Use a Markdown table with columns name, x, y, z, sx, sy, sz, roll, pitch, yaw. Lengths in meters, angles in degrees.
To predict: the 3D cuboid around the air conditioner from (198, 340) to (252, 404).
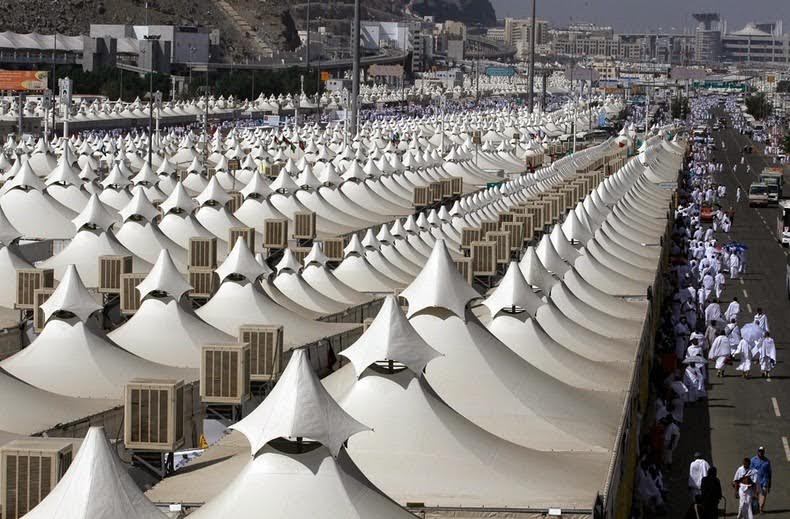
| name | x | y | z | sx | sy | sz | roll | pitch | yaw |
| --- | --- | --- | --- | --- | --- | --- | --- | --- | --- |
| air conditioner | -6.536 | 4.156 | 55.395 | 1.542 | 2.257 | 2.161 | 2 | 9 | -3 |

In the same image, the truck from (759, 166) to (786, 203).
| name | x | y | z | sx | sy | sz | roll | pitch | yaw |
| --- | --- | --- | --- | --- | --- | --- | --- | --- | --- |
| truck | 27.672 | -5.494 | 107.237 | 1.307 | 2.072 | 4.117 | -1 | 10 | 9 |

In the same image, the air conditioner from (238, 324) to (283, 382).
| name | x | y | z | sx | sy | sz | roll | pitch | yaw |
| --- | --- | --- | --- | --- | --- | --- | --- | --- | --- |
| air conditioner | -5.126 | 3.625 | 57.345 | 2.062 | 2.440 | 1.788 | 1 | 6 | 4 |

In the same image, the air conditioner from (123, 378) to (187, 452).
| name | x | y | z | sx | sy | sz | roll | pitch | yaw |
| --- | --- | --- | --- | --- | --- | --- | --- | --- | --- |
| air conditioner | -8.126 | 5.656 | 52.684 | 2.794 | 2.506 | 3.028 | 0 | -6 | -2 |
